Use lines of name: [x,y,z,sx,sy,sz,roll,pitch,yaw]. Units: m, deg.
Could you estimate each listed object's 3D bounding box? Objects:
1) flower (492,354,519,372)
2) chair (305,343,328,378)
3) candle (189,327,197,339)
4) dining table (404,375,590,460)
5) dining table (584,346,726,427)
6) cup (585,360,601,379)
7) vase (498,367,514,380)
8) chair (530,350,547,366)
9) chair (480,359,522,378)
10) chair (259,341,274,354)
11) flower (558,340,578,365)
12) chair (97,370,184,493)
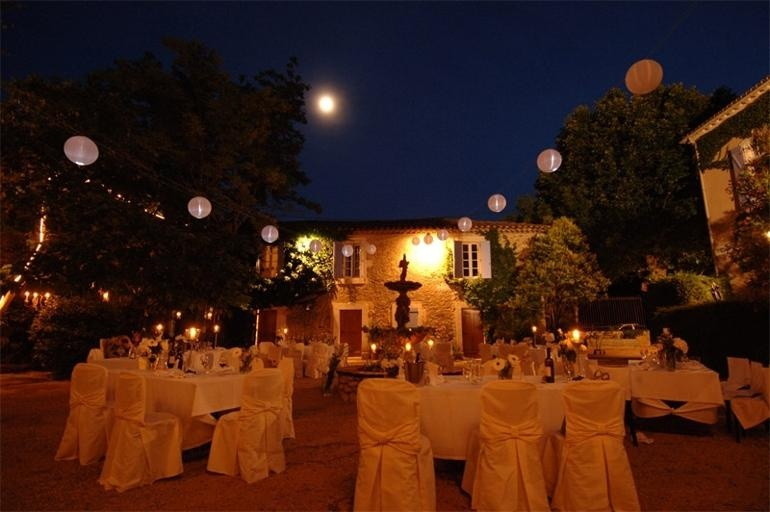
flower: [2.180,1.962,9.246,0.357,0.356,0.149,-5,-51,12]
chair: [-2.071,3.196,15.775,0.905,1.247,0.809,2,-4,0]
candle: [-4.417,1.748,11.920,0.238,0.258,0.238,4,-10,-16]
dining table: [1.409,2.657,9.280,2.637,1.282,1.430,0,-16,-2]
dining table: [5.533,2.579,10.158,1.697,0.672,1.733,-2,-3,17]
cup: [3.920,2.095,9.660,0.286,0.345,0.532,-6,-16,27]
vase: [2.191,2.070,9.259,0.220,0.164,0.215,-1,-6,-8]
chair: [3.587,2.330,11.943,0.337,0.338,0.629,-14,-3,27]
chair: [2.202,2.031,9.458,0.607,0.283,0.582,1,-10,4]
chair: [-3.700,2.785,16.152,0.716,0.364,0.711,1,-10,-10]
flower: [3.481,1.813,9.762,0.265,0.354,0.481,13,4,6]
chair: [-4.287,3.061,9.597,1.744,2.060,1.760,2,-5,-36]
